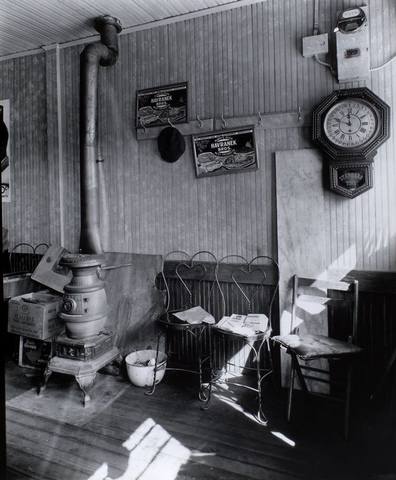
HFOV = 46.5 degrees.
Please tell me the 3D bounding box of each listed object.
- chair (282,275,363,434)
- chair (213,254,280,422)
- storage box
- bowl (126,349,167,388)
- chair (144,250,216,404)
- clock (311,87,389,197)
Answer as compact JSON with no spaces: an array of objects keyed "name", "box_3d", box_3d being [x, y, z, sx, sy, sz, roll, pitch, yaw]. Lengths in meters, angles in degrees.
[{"name":"chair","box_3d":[0.849,0.765,3.284,0.588,0.899,0.752,3,9,21]},{"name":"chair","box_3d":[0.350,0.721,3.674,0.407,1.187,0.434,6,6,22]},{"name":"storage box","box_3d":[-1.424,0.672,4.074,0.503,0.345,0.375,5,10,30]},{"name":"bowl","box_3d":[-0.428,1.039,3.757,0.224,0.181,0.259,0,-13,6]},{"name":"chair","box_3d":[-0.100,0.644,3.791,0.572,1.008,0.827,0,8,0]},{"name":"clock","box_3d":[1.131,-0.723,3.347,0.622,1.157,0.154,-2,-2,25]}]
